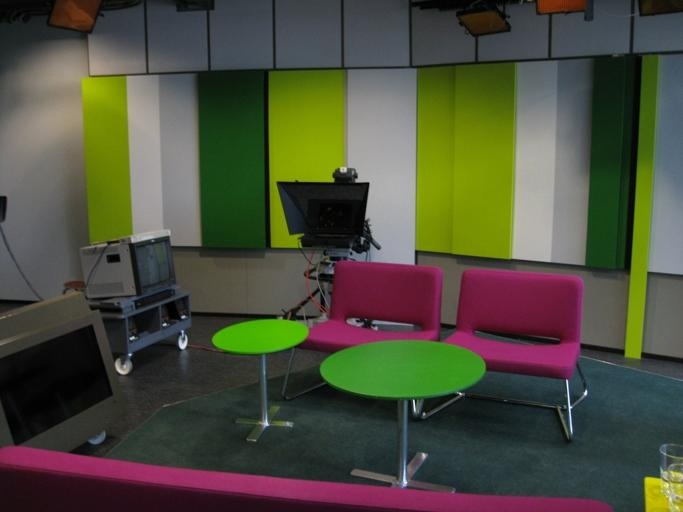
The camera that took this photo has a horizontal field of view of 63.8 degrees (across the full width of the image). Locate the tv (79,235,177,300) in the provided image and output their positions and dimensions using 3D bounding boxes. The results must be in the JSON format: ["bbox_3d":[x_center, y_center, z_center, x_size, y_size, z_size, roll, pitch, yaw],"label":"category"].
[{"bbox_3d":[-2.245,0.092,5.806,0.675,0.573,0.725,-3,7,12],"label":"tv"}]

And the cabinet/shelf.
[{"bbox_3d":[-2.114,0.734,5.847,0.539,0.684,1.038,0,8,21],"label":"cabinet/shelf"}]

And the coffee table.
[{"bbox_3d":[0.091,1.058,4.123,1.885,0.769,1.037,10,17,38],"label":"coffee table"}]
